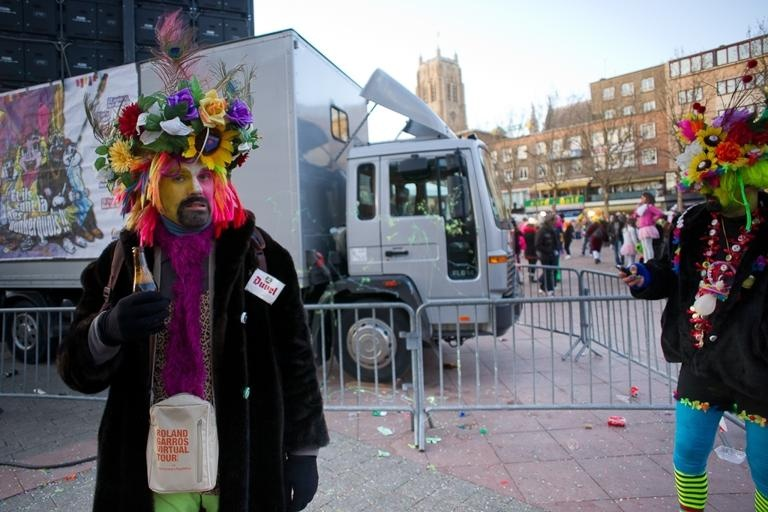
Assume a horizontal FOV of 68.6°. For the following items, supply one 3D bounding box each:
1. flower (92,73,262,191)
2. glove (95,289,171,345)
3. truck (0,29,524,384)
[{"bbox_3d":[-1.200,-0.762,3.487,0.861,0.578,0.754,-13,13,-17],"label":"flower"},{"bbox_3d":[-1.322,0.335,3.004,0.355,0.258,0.333,-24,-3,-17],"label":"glove"},{"bbox_3d":[-1.858,-0.661,9.015,8.029,4.279,3.523,-2,0,12],"label":"truck"}]
